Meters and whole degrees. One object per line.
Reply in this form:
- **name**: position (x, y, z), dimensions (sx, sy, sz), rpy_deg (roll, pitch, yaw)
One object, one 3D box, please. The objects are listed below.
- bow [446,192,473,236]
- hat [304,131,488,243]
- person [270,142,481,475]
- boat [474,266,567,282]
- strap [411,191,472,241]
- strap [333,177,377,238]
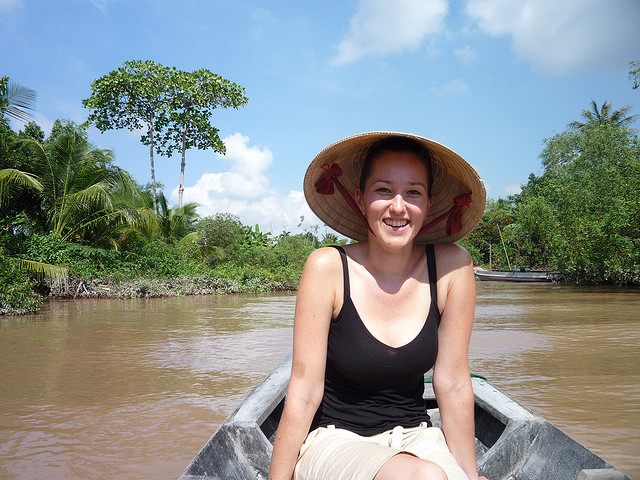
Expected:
- **bow**: position (0.771, -0.136, 2.690), dimensions (0.107, 0.059, 0.221), rpy_deg (9, -49, -4)
- **hat**: position (0.503, -0.364, 2.998), dimensions (1.115, 0.438, 0.997), rpy_deg (7, 22, 33)
- **person**: position (0.313, 0.359, 2.498), dimensions (0.893, 1.713, 0.818), rpy_deg (-1, -3, 21)
- **boat**: position (15.187, 2.873, 37.238), dimensions (2.952, 0.878, 8.656), rpy_deg (1, -3, -10)
- **strap**: position (0.720, -0.119, 2.701), dimensions (0.070, 0.168, 0.409), rpy_deg (9, -27, -43)
- **strap**: position (0.185, -0.214, 2.668), dimensions (0.204, 0.261, 0.183), rpy_deg (-1, -3, 27)
